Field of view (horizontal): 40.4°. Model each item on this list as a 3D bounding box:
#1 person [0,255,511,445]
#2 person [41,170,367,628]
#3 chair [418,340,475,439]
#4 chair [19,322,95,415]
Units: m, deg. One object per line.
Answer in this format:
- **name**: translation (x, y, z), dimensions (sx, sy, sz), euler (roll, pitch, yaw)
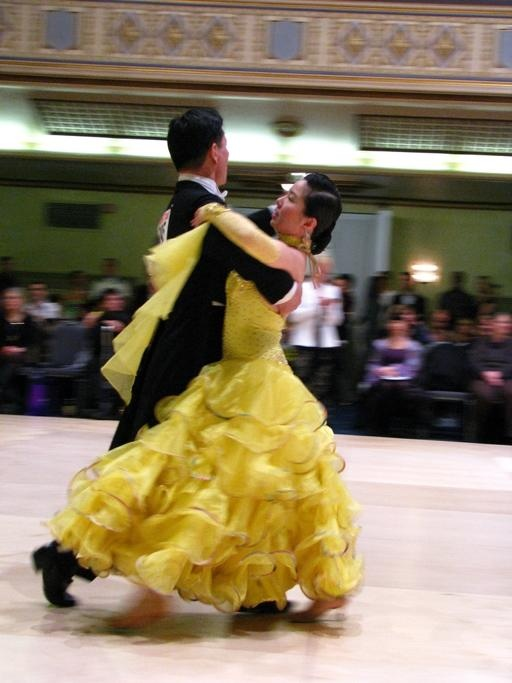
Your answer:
- **person**: translation (0.025, 0.084, 3.849), dimensions (2.341, 0.574, 0.574), euler (0, -10, 6)
- **person**: translation (-0.101, 0.122, 1.641), dimensions (0.687, 0.936, 0.469), euler (4, 1, -25)
- **chair**: translation (1.318, 0.366, 4.960), dimensions (0.441, 0.695, 0.279), euler (5, 1, -1)
- **chair**: translation (-1.468, 0.246, 5.509), dimensions (0.678, 0.775, 0.676), euler (-1, 6, -29)
